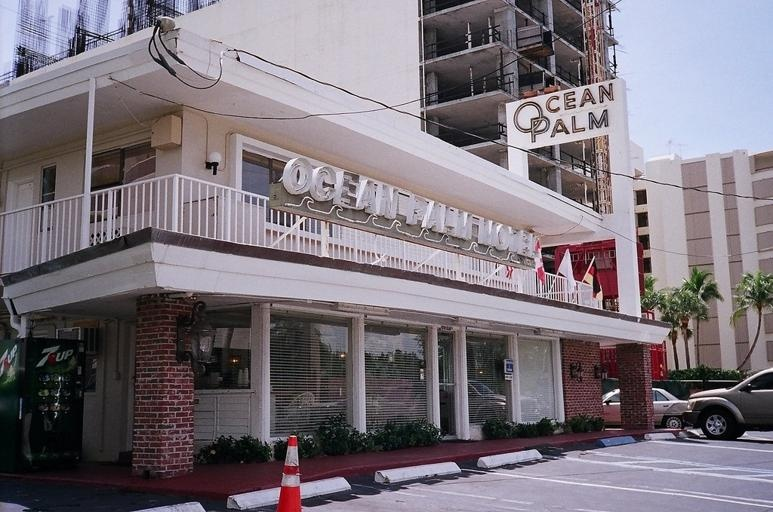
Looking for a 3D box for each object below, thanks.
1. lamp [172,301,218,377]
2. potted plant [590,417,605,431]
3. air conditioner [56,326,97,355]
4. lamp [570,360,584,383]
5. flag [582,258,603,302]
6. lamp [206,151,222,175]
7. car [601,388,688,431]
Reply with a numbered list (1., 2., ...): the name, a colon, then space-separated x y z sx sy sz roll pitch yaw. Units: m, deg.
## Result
1. lamp: -4.678 1.965 19.469 0.858 1.828 0.402 2 0 -15
2. potted plant: 8.086 6.526 31.342 0.426 0.528 1.071 2 0 32
3. air conditioner: -8.811 2.288 23.060 1.431 1.051 0.781 0 0 31
4. lamp: 7.349 4.495 31.374 0.425 0.833 0.821 -7 -11 39
5. flag: 8.685 0.804 33.851 0.907 0.236 2.546 15 -36 19
6. lamp: -4.678 -2.527 22.160 0.498 0.604 0.472 2 0 -37
7. car: 11.329 6.473 34.137 4.169 1.463 1.780 0 -8 14
